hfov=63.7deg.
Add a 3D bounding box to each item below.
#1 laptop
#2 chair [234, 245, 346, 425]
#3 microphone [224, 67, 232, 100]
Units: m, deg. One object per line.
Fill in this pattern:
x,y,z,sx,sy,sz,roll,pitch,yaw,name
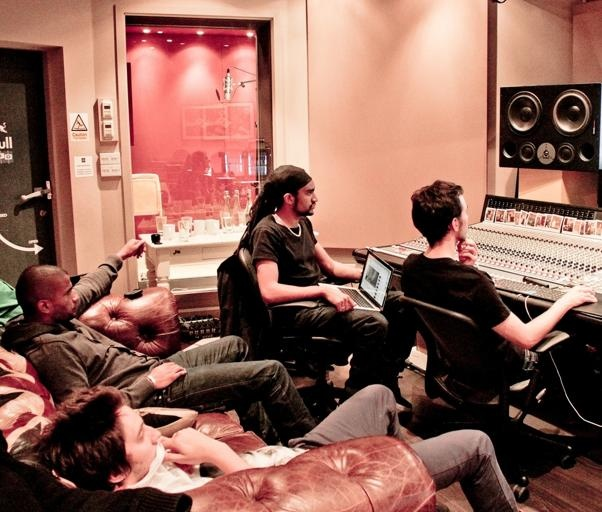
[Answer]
0.342,0.149,2.813,0.250,0.311,0.406,1,17,-29,laptop
-0.132,0.426,3.183,0.854,1.158,0.958,-5,0,10,chair
-0.678,-1.591,4.493,0.091,0.280,0.023,-3,9,-16,microphone
